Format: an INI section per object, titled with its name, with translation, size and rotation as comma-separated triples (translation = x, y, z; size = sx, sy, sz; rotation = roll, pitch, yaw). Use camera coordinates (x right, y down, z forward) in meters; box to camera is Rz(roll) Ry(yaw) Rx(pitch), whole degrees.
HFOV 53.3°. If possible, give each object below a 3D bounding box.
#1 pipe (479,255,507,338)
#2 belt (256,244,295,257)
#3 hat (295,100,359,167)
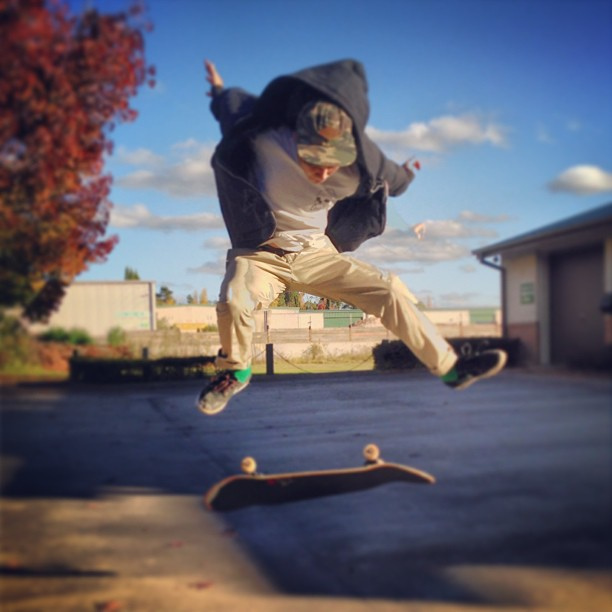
[pipe]
translation = 4.019, -0.139, 13.262
size = 0.713, 1.847, 0.163
rotation = 8, -16, -12
[belt]
translation = -0.213, -0.366, 4.126
size = 0.301, 0.060, 0.043
rotation = 10, -1, -27
[hat]
translation = 0.111, -1.074, 3.839
size = 0.308, 0.342, 0.463
rotation = -2, 1, -43
